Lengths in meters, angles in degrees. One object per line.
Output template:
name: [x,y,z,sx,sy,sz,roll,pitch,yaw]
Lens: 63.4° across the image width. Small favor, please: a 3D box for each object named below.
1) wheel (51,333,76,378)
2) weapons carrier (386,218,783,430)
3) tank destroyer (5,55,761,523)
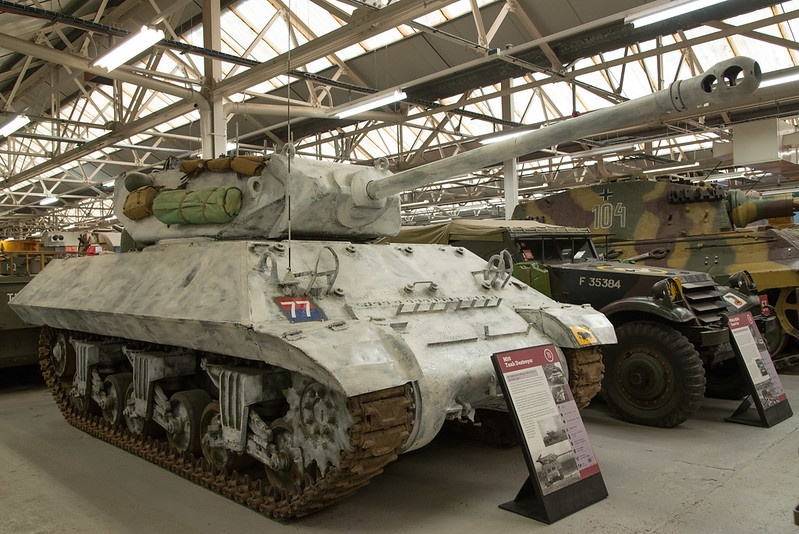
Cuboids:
wheel: [-6.340,1.689,12.202,0.346,0.892,0.806,0,1,-32]
weapons carrier: [3.759,0.770,13.283,6.332,3.414,3.714,-2,-1,43]
tank destroyer: [-1.449,0.412,11.438,7.205,5.857,10.765,-3,2,-41]
